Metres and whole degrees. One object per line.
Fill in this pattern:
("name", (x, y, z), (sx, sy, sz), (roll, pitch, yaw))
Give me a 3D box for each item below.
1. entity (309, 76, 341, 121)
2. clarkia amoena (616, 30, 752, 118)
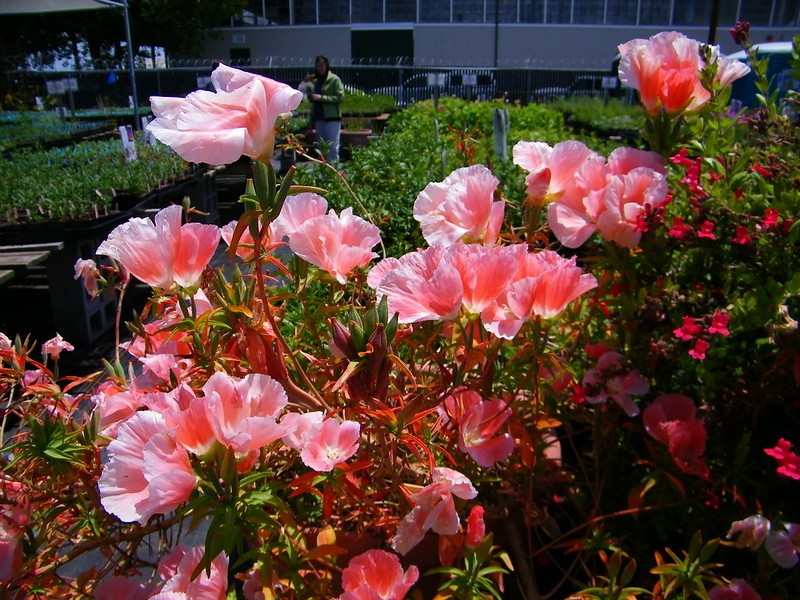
("entity", (-1.105, -3.017, 8.936), (0.457, 0.630, 0.311), (13, 24, 27))
("clarkia amoena", (0.508, -0.420, 1.108), (0.158, 0.227, 0.123), (3, 14, 11))
